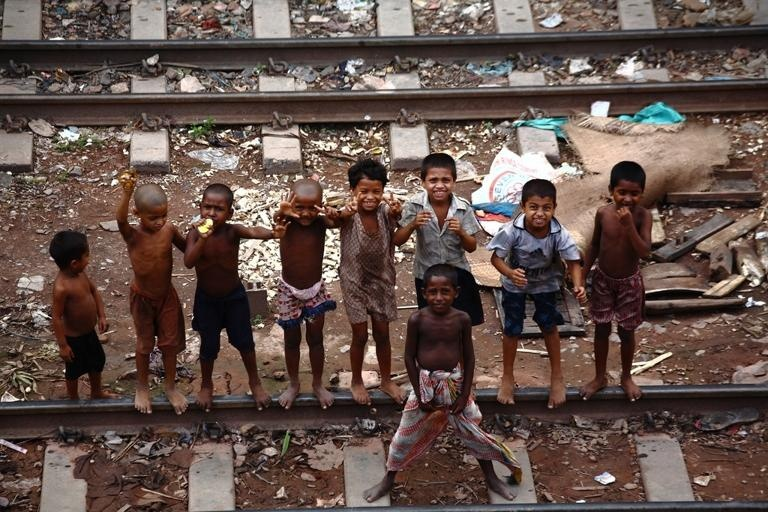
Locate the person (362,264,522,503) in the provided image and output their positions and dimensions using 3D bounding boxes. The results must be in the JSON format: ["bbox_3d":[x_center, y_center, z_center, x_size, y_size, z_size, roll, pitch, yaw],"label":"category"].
[{"bbox_3d":[0.501,0.993,4.934,1.173,1.741,0.922,-2,34,1],"label":"person"}]
